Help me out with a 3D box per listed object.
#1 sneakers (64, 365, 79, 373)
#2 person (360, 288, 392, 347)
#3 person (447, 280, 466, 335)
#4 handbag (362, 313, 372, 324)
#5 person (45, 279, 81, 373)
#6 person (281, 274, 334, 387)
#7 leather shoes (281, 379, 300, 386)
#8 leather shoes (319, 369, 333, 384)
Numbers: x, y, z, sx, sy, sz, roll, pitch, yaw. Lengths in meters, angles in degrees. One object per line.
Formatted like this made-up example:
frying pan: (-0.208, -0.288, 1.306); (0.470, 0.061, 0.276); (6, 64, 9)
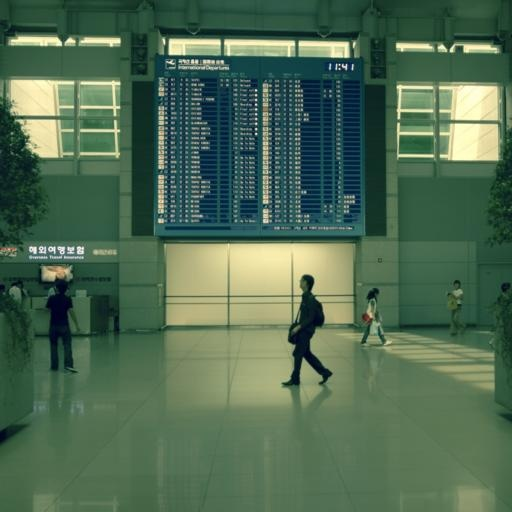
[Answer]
sneakers: (-3.419, 2.070, 14.375); (0.235, 0.146, 0.329); (-2, 6, -16)
person: (2.703, 1.382, 17.518); (0.656, 1.459, 1.863); (1, 6, 10)
person: (5.178, 1.262, 20.203); (0.436, 1.443, 2.380); (1, 6, 14)
handbag: (2.390, 1.338, 16.797); (0.186, 0.212, 0.082); (-34, 4, 0)
person: (-3.640, 1.404, 14.598); (0.503, 1.891, 0.529); (-4, -29, -4)
person: (0.844, 1.268, 13.323); (0.839, 1.875, 0.527); (-1, 4, -10)
leather shoes: (0.590, 2.159, 13.286); (0.315, 0.191, 0.126); (1, -4, 11)
leather shoes: (1.198, 2.082, 13.468); (0.175, 0.274, 0.219); (-2, -5, -15)
